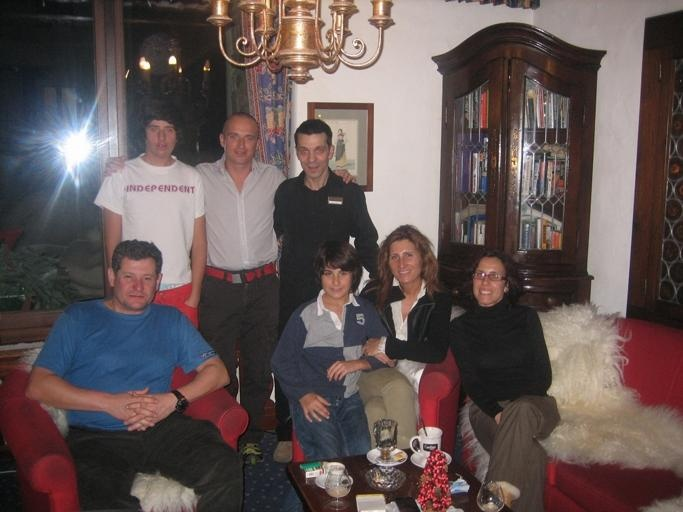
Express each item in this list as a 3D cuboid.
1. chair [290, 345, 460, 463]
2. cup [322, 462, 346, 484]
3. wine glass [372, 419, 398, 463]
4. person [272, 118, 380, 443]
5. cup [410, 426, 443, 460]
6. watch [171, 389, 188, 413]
[{"bbox_3d":[0.279,0.802,3.327,0.614,0.818,0.649,-2,-13,8],"label":"chair"},{"bbox_3d":[-0.038,0.934,2.489,0.065,0.068,0.086,3,-5,-21],"label":"cup"},{"bbox_3d":[0.195,0.825,2.599,0.144,0.252,0.157,0,-1,5],"label":"wine glass"},{"bbox_3d":[-0.166,0.149,3.742,0.755,1.972,0.600,-1,24,-8],"label":"person"},{"bbox_3d":[0.393,0.883,2.765,0.150,0.164,0.099,-9,21,-19],"label":"cup"},{"bbox_3d":[-0.793,0.712,2.877,0.068,0.104,0.106,-19,4,-28],"label":"watch"}]
